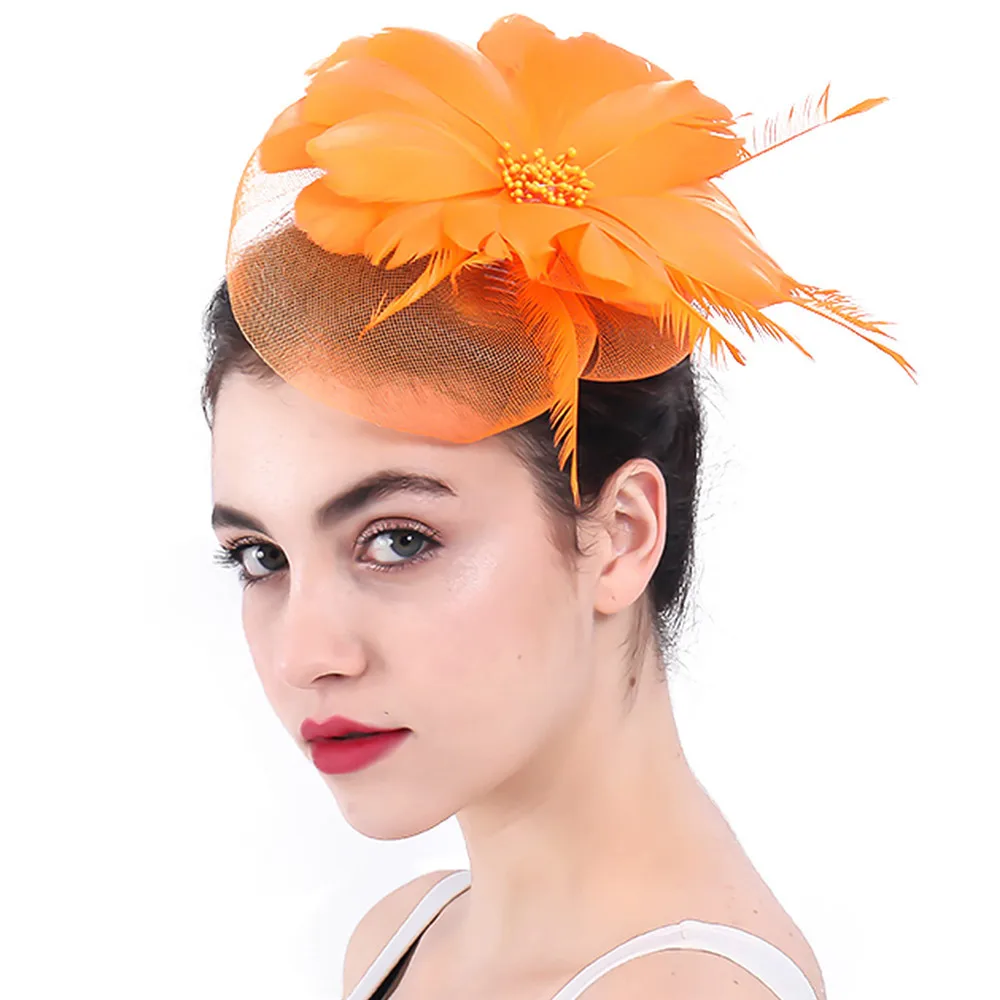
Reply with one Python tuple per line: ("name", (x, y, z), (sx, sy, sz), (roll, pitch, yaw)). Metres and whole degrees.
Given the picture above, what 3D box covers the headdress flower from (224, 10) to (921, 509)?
("headdress flower", (0.029, -0.529, 2.614), (1.148, 0.912, 0.520), (-11, 2, -9))
